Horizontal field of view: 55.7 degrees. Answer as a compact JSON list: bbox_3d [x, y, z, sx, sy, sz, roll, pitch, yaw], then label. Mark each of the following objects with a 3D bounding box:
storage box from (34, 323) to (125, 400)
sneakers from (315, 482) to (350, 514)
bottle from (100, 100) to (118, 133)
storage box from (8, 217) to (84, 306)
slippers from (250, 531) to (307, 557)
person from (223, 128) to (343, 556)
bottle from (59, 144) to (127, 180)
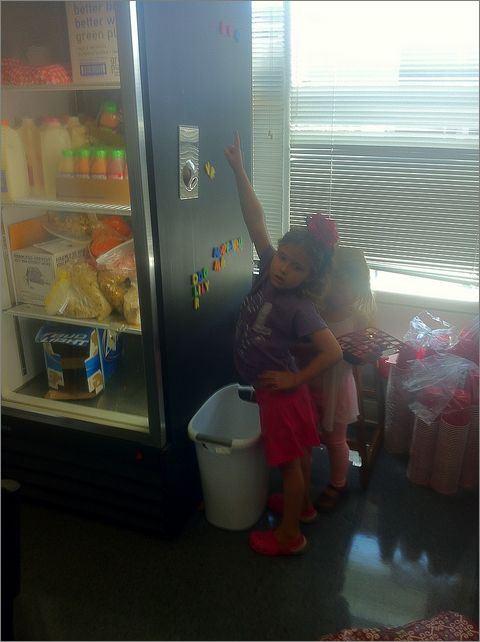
[{"bbox_3d":[-0.668,0.108,1.965,0.196,0.292,0.406,6,23,4],"label":"storage box"},{"bbox_3d":[0.383,0.736,1.913,0.060,0.077,0.173,-1,1,33],"label":"sneakers"},{"bbox_3d":[-0.458,-0.710,1.583,0.070,0.097,0.029,1,13,5],"label":"bottle"},{"bbox_3d":[-0.747,-0.216,1.741,0.143,0.310,0.216,7,25,7],"label":"storage box"},{"bbox_3d":[0.146,0.811,1.646,0.180,0.085,0.093,3,22,2],"label":"slippers"},{"bbox_3d":[0.145,0.114,1.591,0.322,1.481,0.420,-1,13,-2],"label":"person"},{"bbox_3d":[-0.490,-0.530,1.525,0.265,0.113,0.081,8,16,27],"label":"bottle"}]
